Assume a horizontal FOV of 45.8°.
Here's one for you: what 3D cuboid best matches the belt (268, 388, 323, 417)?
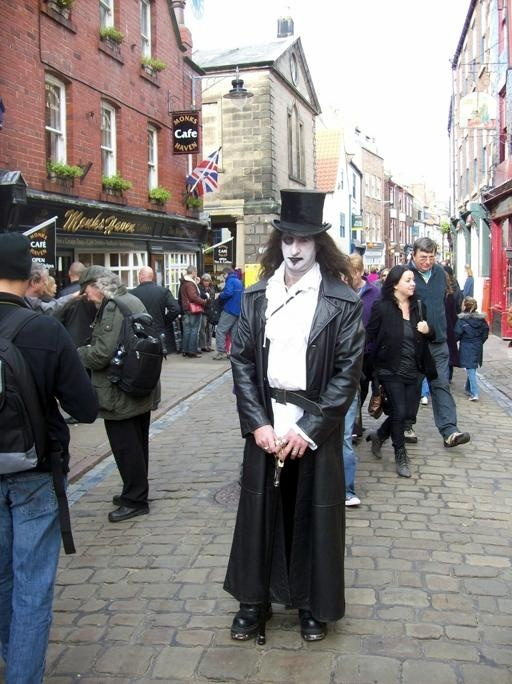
[{"bbox_3d":[0.179,0.252,2.599,0.098,0.102,0.280,-4,4,-32],"label":"belt"}]

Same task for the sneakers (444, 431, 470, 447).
[{"bbox_3d":[1.912,0.908,5.732,0.110,0.119,0.301,1,-22,-27],"label":"sneakers"}]

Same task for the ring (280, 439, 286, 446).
[{"bbox_3d":[0.107,0.412,2.492,0.018,0.025,0.006,-2,-17,21],"label":"ring"}]

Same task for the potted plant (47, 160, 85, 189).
[{"bbox_3d":[-3.361,-2.978,10.647,0.387,0.171,0.514,3,-2,2],"label":"potted plant"}]

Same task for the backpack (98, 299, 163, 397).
[{"bbox_3d":[-0.862,0.038,4.265,0.435,0.652,0.418,7,-1,-1],"label":"backpack"}]

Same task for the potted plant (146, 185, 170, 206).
[{"bbox_3d":[-2.342,-3.557,14.620,0.466,0.328,0.453,-1,11,0],"label":"potted plant"}]

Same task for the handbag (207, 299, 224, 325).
[{"bbox_3d":[-0.886,-0.683,13.491,0.314,0.724,0.563,4,7,-11],"label":"handbag"}]

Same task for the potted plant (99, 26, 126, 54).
[{"bbox_3d":[-2.925,-6.359,12.446,0.373,0.610,0.761,-2,3,2],"label":"potted plant"}]

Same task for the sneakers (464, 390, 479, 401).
[{"bbox_3d":[3.081,0.776,8.608,0.090,0.102,0.245,-2,-6,1],"label":"sneakers"}]

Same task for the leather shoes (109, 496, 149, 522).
[{"bbox_3d":[-0.918,1.232,4.415,0.114,0.141,0.346,-8,-14,32],"label":"leather shoes"}]

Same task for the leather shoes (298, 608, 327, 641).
[{"bbox_3d":[0.239,1.235,2.636,0.131,0.110,0.127,-1,3,18],"label":"leather shoes"}]

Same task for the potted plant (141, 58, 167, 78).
[{"bbox_3d":[-2.401,-6.532,14.309,0.575,0.206,0.506,-16,51,-41],"label":"potted plant"}]

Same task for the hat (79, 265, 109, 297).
[{"bbox_3d":[-1.227,-0.475,4.436,0.236,0.129,0.162,-32,0,-9],"label":"hat"}]

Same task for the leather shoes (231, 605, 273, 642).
[{"bbox_3d":[-0.021,1.233,2.664,0.089,0.108,0.246,-1,-10,11],"label":"leather shoes"}]

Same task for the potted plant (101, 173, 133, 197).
[{"bbox_3d":[-2.928,-3.264,12.530,0.534,0.260,0.508,-4,13,-25],"label":"potted plant"}]

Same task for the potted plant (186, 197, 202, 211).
[{"bbox_3d":[-1.761,-3.916,17.051,0.359,0.351,0.195,-3,-9,22],"label":"potted plant"}]

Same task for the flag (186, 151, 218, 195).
[{"bbox_3d":[-1.455,-4.711,16.631,0.873,1.119,0.708,-2,3,-6],"label":"flag"}]

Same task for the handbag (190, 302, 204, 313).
[{"bbox_3d":[-1.351,-0.804,13.763,0.241,0.222,0.083,-4,1,-19],"label":"handbag"}]

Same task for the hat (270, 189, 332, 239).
[{"bbox_3d":[0.225,-0.602,2.782,0.311,0.196,0.304,1,17,-13],"label":"hat"}]

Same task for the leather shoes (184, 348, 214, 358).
[{"bbox_3d":[-1.343,0.239,14.301,0.649,0.264,0.210,-12,16,-4],"label":"leather shoes"}]
